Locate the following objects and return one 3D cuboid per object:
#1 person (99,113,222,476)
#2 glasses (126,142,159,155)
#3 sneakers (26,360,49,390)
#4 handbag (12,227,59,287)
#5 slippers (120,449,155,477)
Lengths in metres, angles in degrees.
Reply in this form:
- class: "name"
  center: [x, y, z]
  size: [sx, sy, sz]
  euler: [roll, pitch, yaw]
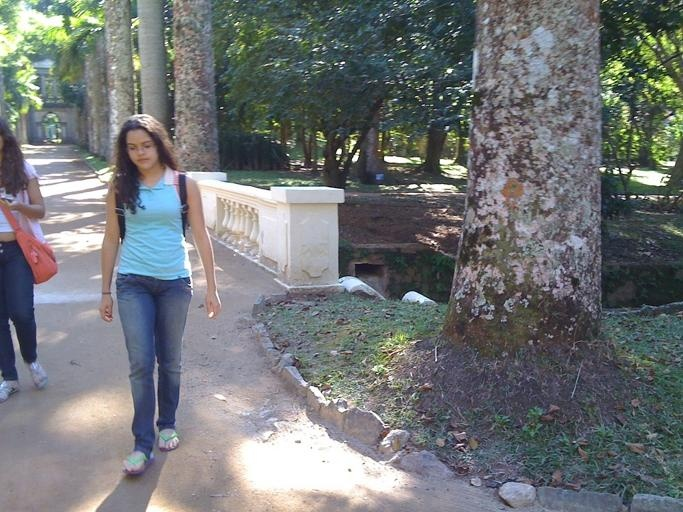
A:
- class: "person"
  center: [-1.301, 0.225, 4.029]
  size: [0.752, 2.368, 0.686]
  euler: [-11, 19, -42]
- class: "glasses"
  center: [-1.359, -0.736, 3.922]
  size: [0.183, 0.068, 0.062]
  euler: [-2, 14, -17]
- class: "sneakers"
  center: [-2.572, 1.022, 4.927]
  size: [0.116, 0.305, 0.133]
  euler: [-28, 18, -26]
- class: "handbag"
  center: [-2.452, -0.038, 4.586]
  size: [0.228, 0.519, 0.214]
  euler: [-7, 34, -9]
- class: "slippers"
  center: [-1.382, 1.401, 3.868]
  size: [0.119, 0.082, 0.209]
  euler: [-2, 4, -2]
